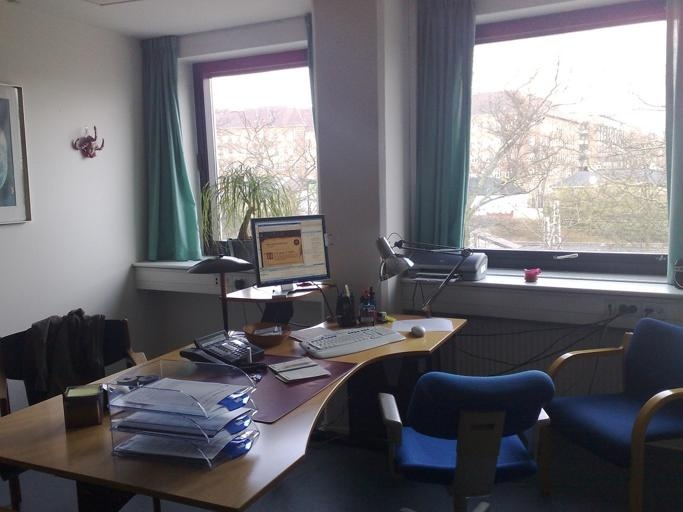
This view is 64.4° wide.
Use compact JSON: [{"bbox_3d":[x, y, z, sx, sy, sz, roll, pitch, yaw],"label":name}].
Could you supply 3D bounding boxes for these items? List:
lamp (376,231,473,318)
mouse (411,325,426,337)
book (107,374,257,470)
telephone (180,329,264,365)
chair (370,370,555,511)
[{"bbox_3d":[0.575,0.114,3.499,0.600,0.551,0.971,0,8,14],"label":"lamp"},{"bbox_3d":[0.434,0.416,3.024,0.048,0.040,0.062,-13,10,-19],"label":"mouse"},{"bbox_3d":[-0.590,0.609,2.050,0.532,0.241,0.251,-1,8,11],"label":"book"},{"bbox_3d":[-0.589,0.474,2.754,0.308,0.135,0.352,2,6,24],"label":"telephone"},{"bbox_3d":[0.466,0.758,2.538,0.624,0.838,0.756,-1,10,-3],"label":"chair"}]
